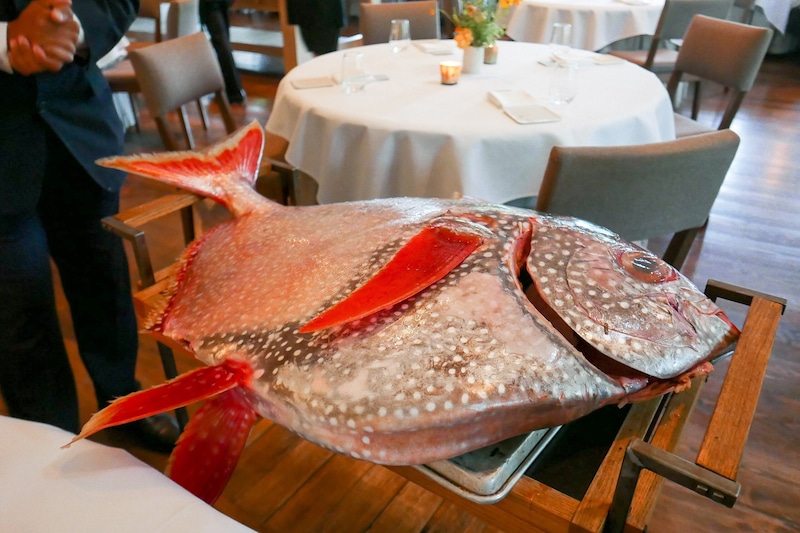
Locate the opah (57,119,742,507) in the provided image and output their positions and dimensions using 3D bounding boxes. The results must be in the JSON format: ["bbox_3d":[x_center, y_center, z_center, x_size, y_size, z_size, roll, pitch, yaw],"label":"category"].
[{"bbox_3d":[-0.111,0.069,1.235,1.322,0.344,0.796,13,46,17],"label":"opah"}]

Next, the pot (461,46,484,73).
[{"bbox_3d":[0.309,-0.919,2.664,0.100,0.115,0.105,-1,40,1],"label":"pot"}]
